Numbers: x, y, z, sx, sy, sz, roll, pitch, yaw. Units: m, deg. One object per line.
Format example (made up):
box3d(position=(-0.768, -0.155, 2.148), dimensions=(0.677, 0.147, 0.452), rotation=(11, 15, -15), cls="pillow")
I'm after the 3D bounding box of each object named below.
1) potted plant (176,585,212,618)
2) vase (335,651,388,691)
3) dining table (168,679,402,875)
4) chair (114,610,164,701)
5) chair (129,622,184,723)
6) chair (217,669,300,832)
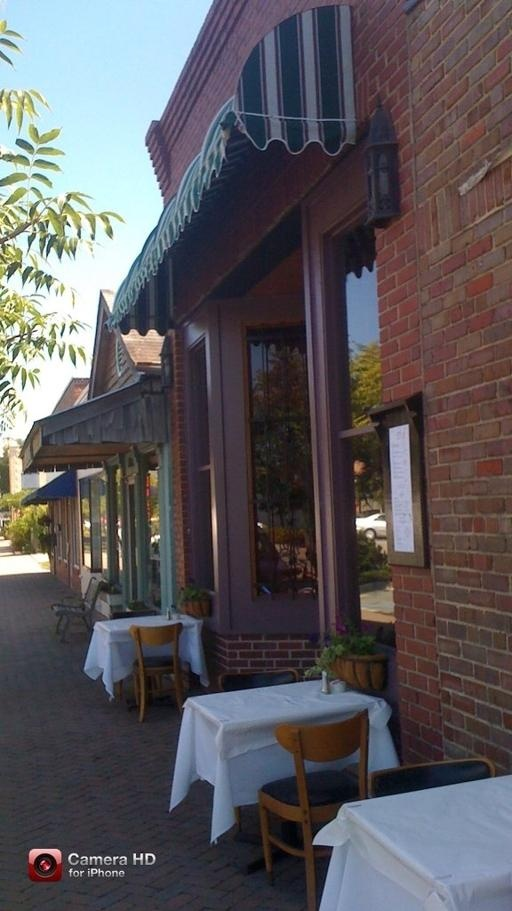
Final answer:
box3d(position=(-0.633, 1.509, 7.132), dimensions=(0.261, 0.370, 0.319), rotation=(1, -3, -24), cls="potted plant")
box3d(position=(0.590, 1.185, 3.793), dimensions=(0.190, 0.194, 0.266), rotation=(7, -15, -9), cls="vase")
box3d(position=(0.057, 1.393, 3.902), dimensions=(1.093, 1.111, 1.048), rotation=(1, 3, -16), cls="dining table")
box3d(position=(-1.265, 2.123, 7.428), dimensions=(0.580, 1.248, 0.709), rotation=(0, -4, -18), cls="chair")
box3d(position=(-0.961, 2.132, 6.953), dimensions=(0.491, 1.149, 0.587), rotation=(-1, 4, -30), cls="chair")
box3d(position=(-0.001, 1.805, 4.417), dimensions=(0.625, 1.158, 0.666), rotation=(0, 0, -15), cls="chair")
